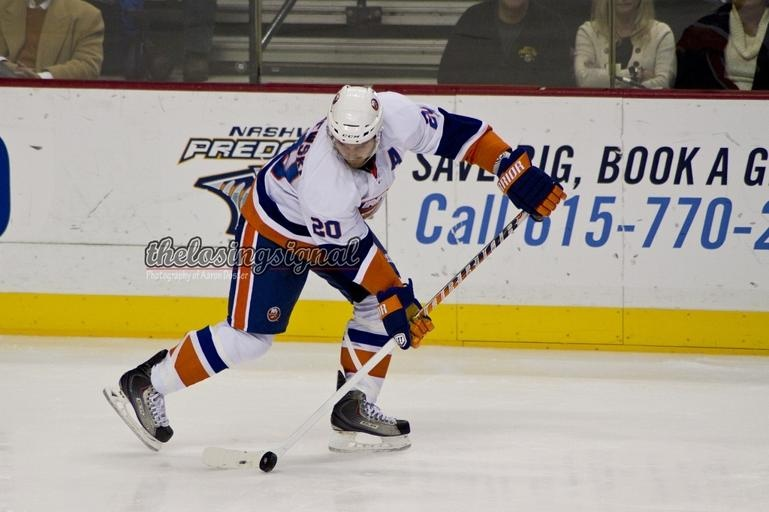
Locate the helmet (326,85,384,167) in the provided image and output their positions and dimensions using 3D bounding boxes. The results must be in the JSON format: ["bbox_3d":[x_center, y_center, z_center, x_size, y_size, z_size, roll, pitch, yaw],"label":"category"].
[{"bbox_3d":[-0.096,-0.718,6.608,0.310,0.412,0.399,3,-20,7],"label":"helmet"}]

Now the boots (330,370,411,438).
[{"bbox_3d":[-0.117,0.953,7.076,0.639,0.455,0.217,4,-5,-3],"label":"boots"}]

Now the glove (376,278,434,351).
[{"bbox_3d":[0.111,0.330,6.681,0.331,0.377,0.170,6,8,0],"label":"glove"}]
